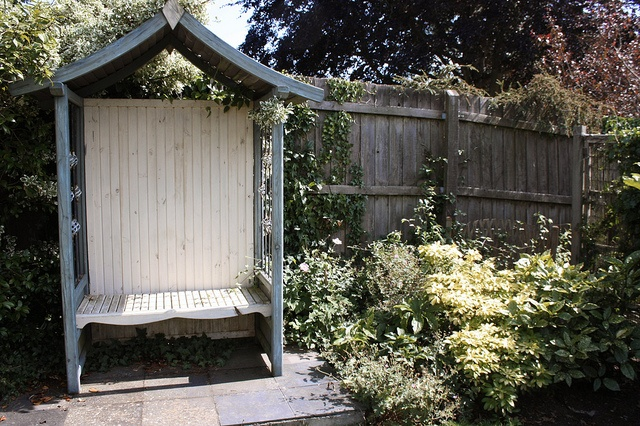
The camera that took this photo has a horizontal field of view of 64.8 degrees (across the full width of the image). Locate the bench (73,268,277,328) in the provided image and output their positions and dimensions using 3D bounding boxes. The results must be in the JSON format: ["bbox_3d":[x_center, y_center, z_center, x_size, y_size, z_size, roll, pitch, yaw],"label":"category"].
[{"bbox_3d":[-1.629,0.961,5.745,2.085,0.406,0.654,-1,10,-9],"label":"bench"}]
